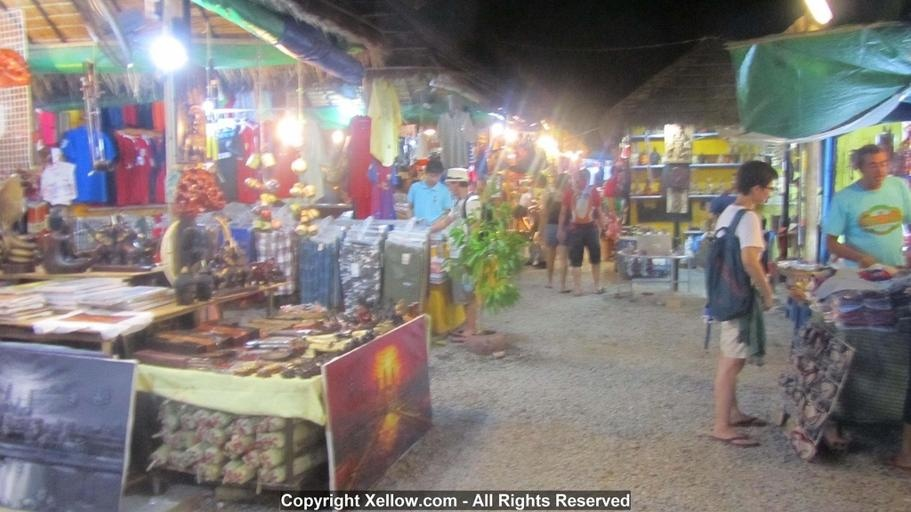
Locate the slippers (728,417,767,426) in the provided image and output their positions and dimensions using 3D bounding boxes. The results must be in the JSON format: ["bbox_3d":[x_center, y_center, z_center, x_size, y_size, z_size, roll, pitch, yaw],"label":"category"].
[{"bbox_3d":[3.122,1.761,6.763,0.342,0.070,0.129,-3,2,1],"label":"slippers"}]

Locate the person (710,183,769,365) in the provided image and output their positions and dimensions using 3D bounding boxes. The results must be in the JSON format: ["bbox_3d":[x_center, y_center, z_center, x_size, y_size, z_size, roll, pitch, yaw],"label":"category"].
[{"bbox_3d":[2.904,0.395,6.353,0.456,1.626,0.395,-5,36,13],"label":"person"}]

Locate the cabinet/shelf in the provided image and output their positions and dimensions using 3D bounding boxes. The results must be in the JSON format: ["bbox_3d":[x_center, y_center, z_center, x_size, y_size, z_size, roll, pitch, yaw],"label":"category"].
[{"bbox_3d":[6.616,-1.841,15.766,1.925,4.023,4.893,-6,7,-28],"label":"cabinet/shelf"}]

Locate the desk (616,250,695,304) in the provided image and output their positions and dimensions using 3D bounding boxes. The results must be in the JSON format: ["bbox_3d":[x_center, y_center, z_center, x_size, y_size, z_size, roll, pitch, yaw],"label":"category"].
[{"bbox_3d":[4.220,0.461,13.289,1.440,0.729,1.344,0,0,-29],"label":"desk"}]

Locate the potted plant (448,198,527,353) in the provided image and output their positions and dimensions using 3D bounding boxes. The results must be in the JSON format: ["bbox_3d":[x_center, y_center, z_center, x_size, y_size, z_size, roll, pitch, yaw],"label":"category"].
[{"bbox_3d":[0.442,0.267,8.866,0.974,2.085,0.704,2,7,6],"label":"potted plant"}]

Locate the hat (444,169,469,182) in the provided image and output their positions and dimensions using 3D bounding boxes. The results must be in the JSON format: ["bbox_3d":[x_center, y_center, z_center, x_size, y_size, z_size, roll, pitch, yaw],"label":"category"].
[{"bbox_3d":[0.021,-1.230,9.730,0.221,0.129,0.275,-2,3,-34],"label":"hat"}]

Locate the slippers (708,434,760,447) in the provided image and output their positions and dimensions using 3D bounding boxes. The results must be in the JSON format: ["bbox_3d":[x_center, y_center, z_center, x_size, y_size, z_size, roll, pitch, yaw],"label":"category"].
[{"bbox_3d":[2.860,1.875,6.474,0.365,0.071,0.143,0,3,16],"label":"slippers"}]

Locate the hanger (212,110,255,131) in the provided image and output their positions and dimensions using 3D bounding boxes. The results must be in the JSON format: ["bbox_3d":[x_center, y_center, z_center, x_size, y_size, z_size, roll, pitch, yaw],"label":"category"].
[{"bbox_3d":[-3.468,-2.156,10.010,0.374,0.209,0.502,3,5,33],"label":"hanger"}]
